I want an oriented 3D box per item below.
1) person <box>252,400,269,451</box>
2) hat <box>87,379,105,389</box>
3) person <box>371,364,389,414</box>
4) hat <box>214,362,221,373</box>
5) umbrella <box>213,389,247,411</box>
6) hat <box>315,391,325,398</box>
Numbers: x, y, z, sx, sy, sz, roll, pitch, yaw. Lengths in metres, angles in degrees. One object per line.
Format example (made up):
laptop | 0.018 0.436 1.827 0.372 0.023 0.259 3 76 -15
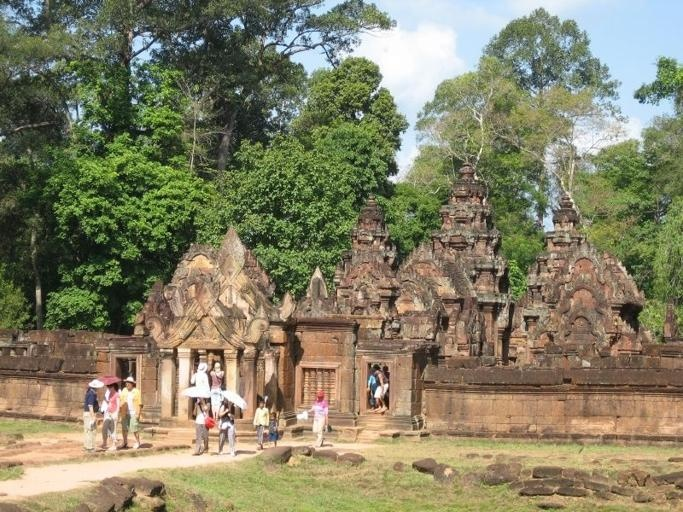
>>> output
person | -2.802 5.835 49.447 0.540 1.865 1.220 2 -11 -3
hat | -8.306 4.332 48.064 0.518 0.172 0.503 2 -6 -39
person | 1.437 4.924 52.895 0.494 1.815 0.778 1 -11 3
hat | -4.260 3.820 48.821 0.221 0.273 0.270 0 -8 -5
umbrella | -3.820 4.787 48.236 0.831 0.279 0.853 1 -32 39
hat | -0.765 4.883 50.171 0.221 0.234 0.302 1 -12 -1
